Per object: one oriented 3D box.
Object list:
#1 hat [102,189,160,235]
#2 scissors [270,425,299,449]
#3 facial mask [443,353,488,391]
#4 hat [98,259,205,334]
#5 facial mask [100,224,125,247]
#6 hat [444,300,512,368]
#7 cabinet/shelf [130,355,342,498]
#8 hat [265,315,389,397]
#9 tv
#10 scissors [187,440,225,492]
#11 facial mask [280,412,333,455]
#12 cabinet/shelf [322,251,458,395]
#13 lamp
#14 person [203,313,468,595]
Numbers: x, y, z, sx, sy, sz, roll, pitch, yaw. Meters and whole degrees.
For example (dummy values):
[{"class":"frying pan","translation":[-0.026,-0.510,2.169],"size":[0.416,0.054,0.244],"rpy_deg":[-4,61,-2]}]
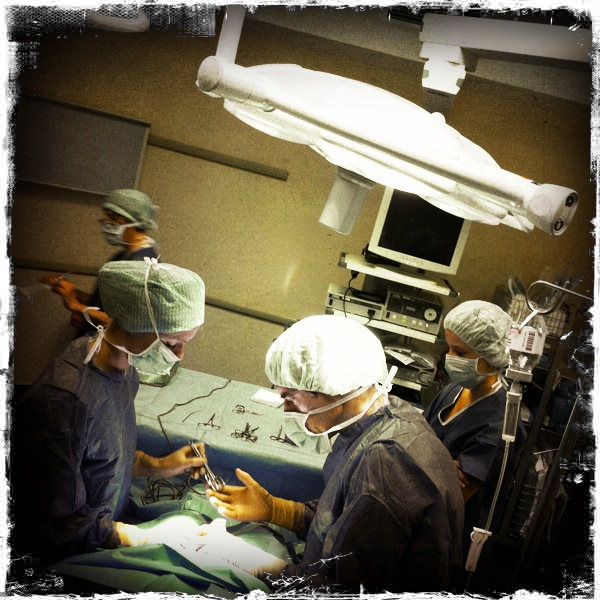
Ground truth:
[{"class":"hat","translation":[-0.561,-0.309,1.857],"size":[0.160,0.101,0.127],"rpy_deg":[31,9,-39]},{"class":"scissors","translation":[-0.057,0.490,1.977],"size":[0.092,0.023,0.094],"rpy_deg":[12,-7,46]},{"class":"facial mask","translation":[0.584,0.251,1.923],"size":[0.121,0.081,0.110],"rpy_deg":[-8,5,-4]},{"class":"hat","translation":[-0.464,-0.052,1.696],"size":[0.323,0.232,0.250],"rpy_deg":[2,25,-13]},{"class":"facial mask","translation":[-0.639,-0.225,1.876],"size":[0.063,0.047,0.075],"rpy_deg":[6,44,-4]},{"class":"hat","translation":[0.652,0.136,1.916],"size":[0.176,0.171,0.209],"rpy_deg":[28,36,25]},{"class":"cabinet/shelf","translation":[-0.278,0.465,2.055],"size":[0.694,0.180,0.376],"rpy_deg":[16,37,1]},{"class":"hat","translation":[0.063,0.162,1.602],"size":[0.339,0.211,0.261],"rpy_deg":[-8,12,-14]},{"class":"tv","translation":[0.432,-0.232,1.971],"size":[0.331,0.042,0.400],"rpy_deg":[20,48,10]},{"class":"scissors","translation":[-0.325,0.584,1.965],"size":[0.069,0.246,0.071],"rpy_deg":[-27,-3,-25]},{"class":"facial mask","translation":[0.013,0.410,1.659],"size":[0.063,0.153,0.148],"rpy_deg":[-6,-27,40]},{"class":"cabinet/shelf","translation":[0.362,0.128,2.177],"size":[0.464,0.485,0.349],"rpy_deg":[13,14,21]},{"class":"lamp","translation":[0.203,-0.534,1.548],"size":[0.567,0.374,0.575],"rpy_deg":[35,8,40]},{"class":"person","translation":[0.174,0.395,1.991],"size":[0.803,1.043,0.648],"rpy_deg":[4,11,10]}]
